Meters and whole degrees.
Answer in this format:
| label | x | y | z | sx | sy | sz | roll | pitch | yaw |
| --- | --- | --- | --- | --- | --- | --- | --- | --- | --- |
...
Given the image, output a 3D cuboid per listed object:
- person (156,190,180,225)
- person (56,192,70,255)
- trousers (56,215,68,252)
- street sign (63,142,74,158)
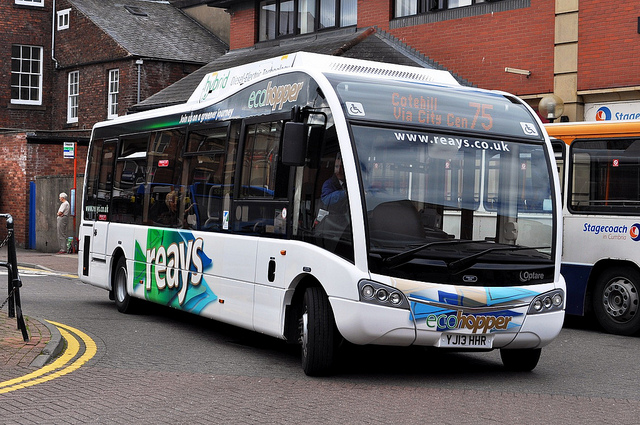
| label | x | y | z | sx | sy | sz | roll | pitch | yaw |
| --- | --- | --- | --- | --- | --- | --- | --- | --- | --- |
| person | -2.769 | -0.103 | 10.491 | 0.543 | 0.720 | 1.785 | 1 | 2 | -17 |
| person | -11.040 | 0.432 | 24.647 | 0.437 | 1.788 | 0.921 | 2 | -2 | -27 |
| trousers | -11.057 | 0.870 | 24.617 | 0.410 | 1.086 | 0.840 | 2 | -2 | -25 |
| street sign | -10.013 | -2.545 | 22.900 | 0.351 | 0.401 | 0.347 | 2 | -2 | -25 |
